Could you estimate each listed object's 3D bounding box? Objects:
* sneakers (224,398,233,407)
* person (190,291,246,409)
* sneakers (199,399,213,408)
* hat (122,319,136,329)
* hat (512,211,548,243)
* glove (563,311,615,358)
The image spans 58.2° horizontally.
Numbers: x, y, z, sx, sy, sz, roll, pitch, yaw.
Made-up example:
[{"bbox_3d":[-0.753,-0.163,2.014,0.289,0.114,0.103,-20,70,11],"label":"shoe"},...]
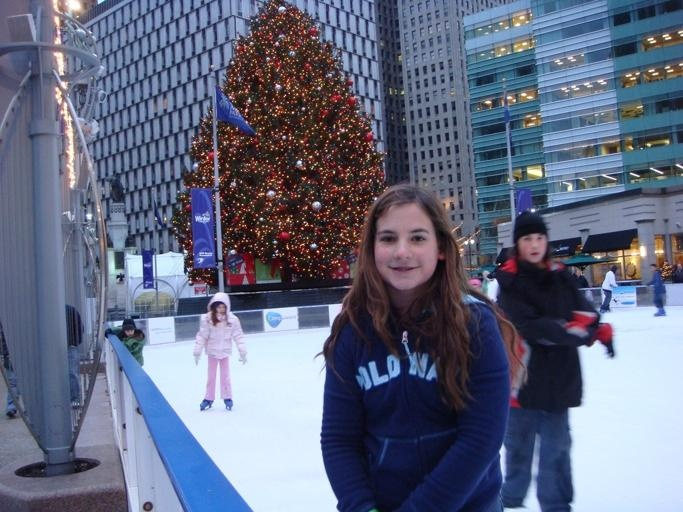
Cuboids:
[{"bbox_3d":[-1.772,2.322,9.725,0.128,0.160,0.265,-3,-1,-9],"label":"sneakers"},{"bbox_3d":[-1.977,1.532,10.089,0.840,1.740,1.126,-3,-1,-12],"label":"person"},{"bbox_3d":[-2.132,2.351,9.795,0.118,0.130,0.220,-1,-5,0],"label":"sneakers"},{"bbox_3d":[-3.796,1.240,11.028,0.175,0.147,0.249,-1,4,-15],"label":"hat"},{"bbox_3d":[1.413,-0.219,4.608,0.209,0.227,0.238,-1,-2,-13],"label":"hat"},{"bbox_3d":[1.841,0.577,4.492,0.209,0.363,0.771,-4,-1,37],"label":"glove"}]
